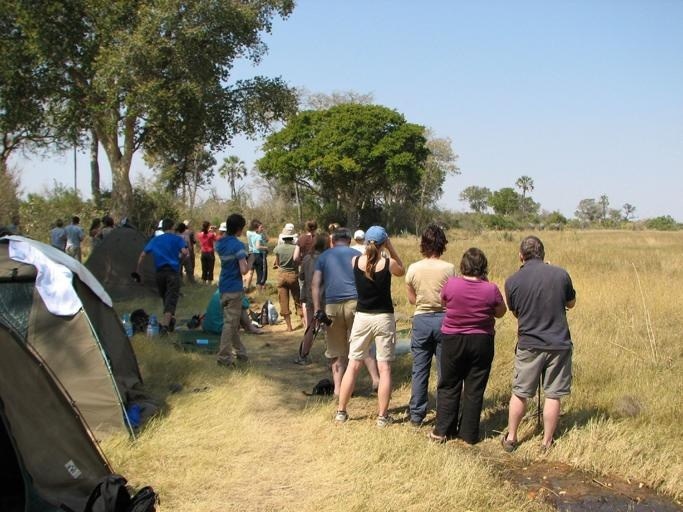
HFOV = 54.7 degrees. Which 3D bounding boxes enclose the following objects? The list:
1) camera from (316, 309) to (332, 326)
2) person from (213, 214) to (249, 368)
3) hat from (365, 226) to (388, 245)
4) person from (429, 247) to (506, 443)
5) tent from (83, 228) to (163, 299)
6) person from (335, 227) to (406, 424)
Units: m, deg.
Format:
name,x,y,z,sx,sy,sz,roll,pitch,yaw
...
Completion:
name,x,y,z,sx,sy,sz,roll,pitch,yaw
camera,-0.280,0.926,9.852,0.260,0.163,0.118,36,30,17
person,-1.910,0.598,11.406,0.678,2.651,0.871,-5,13,-9
hat,0.490,-0.309,9.430,0.200,0.174,0.316,-3,38,1
person,1.705,1.267,9.035,0.977,2.664,0.614,-2,13,6
tent,-5.597,0.211,17.011,1.811,1.468,1.867,7,12,22
person,0.438,1.031,9.470,0.966,2.864,0.887,-2,13,6
